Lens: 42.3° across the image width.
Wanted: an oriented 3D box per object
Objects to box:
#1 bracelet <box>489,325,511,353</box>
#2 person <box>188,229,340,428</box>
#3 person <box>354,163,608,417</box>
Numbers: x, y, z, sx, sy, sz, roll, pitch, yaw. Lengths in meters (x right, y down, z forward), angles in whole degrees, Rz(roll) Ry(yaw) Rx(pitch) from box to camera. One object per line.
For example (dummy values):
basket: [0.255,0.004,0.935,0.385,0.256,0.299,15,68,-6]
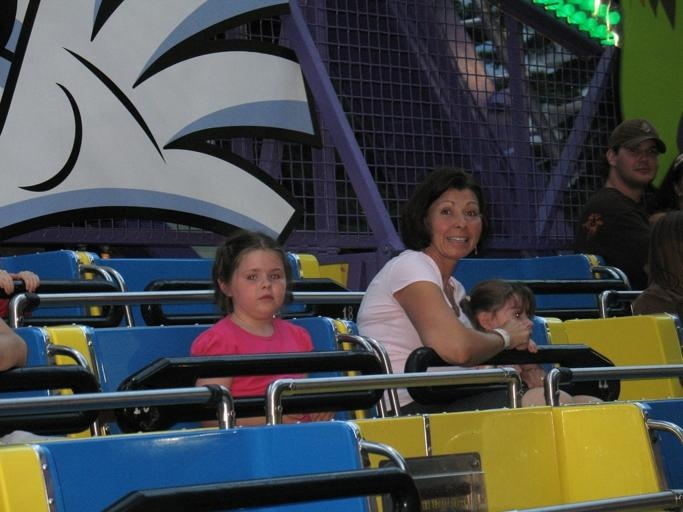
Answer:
bracelet: [0.564,0.297,3.135,0.045,0.066,0.063,-20,37,-29]
person: [-0.283,0.262,3.141,0.517,0.812,0.433,6,-28,-26]
person: [0.415,0.186,3.649,1.033,1.141,0.660,-13,-17,25]
